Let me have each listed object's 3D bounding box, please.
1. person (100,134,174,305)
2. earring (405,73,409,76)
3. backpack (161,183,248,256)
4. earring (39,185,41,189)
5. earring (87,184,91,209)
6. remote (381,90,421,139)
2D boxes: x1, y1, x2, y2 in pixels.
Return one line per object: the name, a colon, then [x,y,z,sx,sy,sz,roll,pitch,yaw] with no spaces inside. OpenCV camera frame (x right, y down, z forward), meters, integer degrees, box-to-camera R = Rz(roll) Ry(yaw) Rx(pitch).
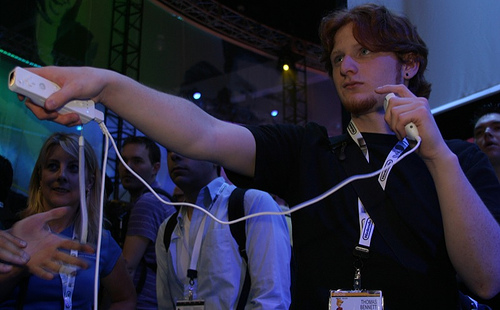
person: [-0.965,0.584,3.973,0.563,1.563,0.546,9,-55,-14]
earring: [0.931,-0.480,2.743,0.019,0.014,0.006,3,-15,-20]
backpack: [-0.282,0.409,3.133,0.402,0.534,0.572,-18,2,7]
earring: [-1.710,0.267,3.774,0.020,0.029,0.008,8,6,16]
earring: [-1.286,0.357,3.702,0.013,0.153,0.038,-7,-15,22]
remote: [0.816,-0.207,2.455,0.146,0.261,0.102,-47,-25,28]
